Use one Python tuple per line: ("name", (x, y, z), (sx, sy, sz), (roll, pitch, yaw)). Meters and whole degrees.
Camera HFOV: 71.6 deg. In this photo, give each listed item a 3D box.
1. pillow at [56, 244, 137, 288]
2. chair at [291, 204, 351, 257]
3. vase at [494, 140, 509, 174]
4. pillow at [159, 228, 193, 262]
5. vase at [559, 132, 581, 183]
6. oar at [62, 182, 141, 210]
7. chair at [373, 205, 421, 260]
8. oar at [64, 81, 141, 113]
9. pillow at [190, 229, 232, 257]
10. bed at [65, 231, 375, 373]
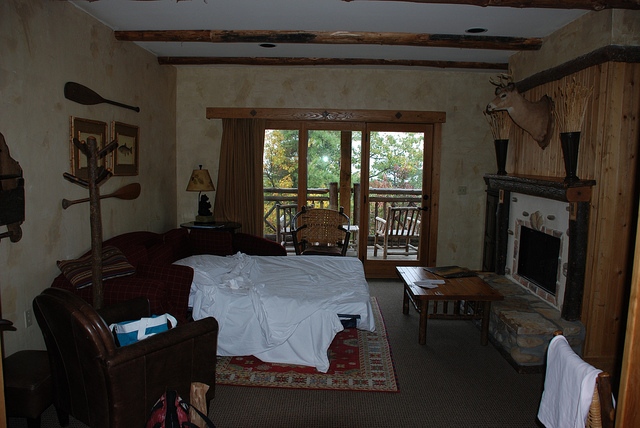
("pillow", (-2.266, 0.497, 4.543), (0.549, 0.384, 0.623), (10, 6, 5))
("chair", (0.016, 0.267, 6.857), (0.904, 1.086, 0.727), (1, 7, 2))
("vase", (2.505, -0.794, 6.115), (0.181, 0.482, 0.392), (3, 5, 23))
("pillow", (-1.844, 0.393, 5.894), (0.431, 0.374, 0.239), (-9, -4, 6))
("vase", (2.669, -0.604, 4.704), (0.208, 0.538, 0.339), (3, 5, 20))
("oar", (-2.576, -0.197, 5.239), (0.039, 0.243, 0.997), (44, 31, 17))
("chair", (1.197, 0.264, 7.578), (0.848, 1.176, 0.805), (1, 7, -6))
("oar", (-2.489, -1.309, 5.157), (0.073, 0.207, 1.032), (21, 8, 23))
("pillow", (-1.459, 0.348, 5.973), (0.399, 0.494, 0.374), (1, 7, 3))
("bed", (-0.650, 0.876, 4.944), (2.287, 0.845, 1.701), (1, 11, 4))
